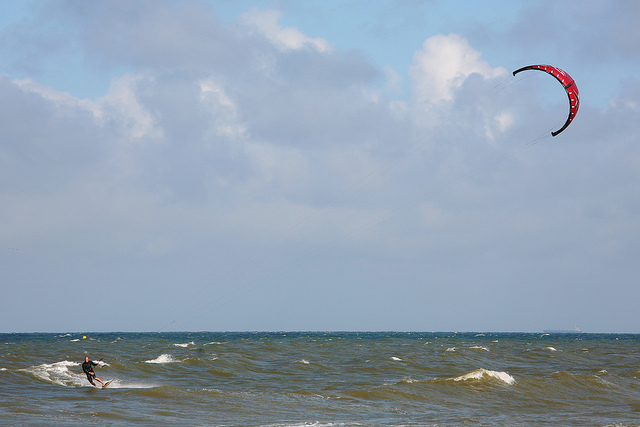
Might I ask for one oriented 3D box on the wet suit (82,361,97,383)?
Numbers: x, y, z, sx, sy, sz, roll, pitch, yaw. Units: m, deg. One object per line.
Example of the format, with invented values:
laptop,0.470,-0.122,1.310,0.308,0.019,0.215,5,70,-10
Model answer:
wet suit,-20.936,14.300,109.673,1.370,2.165,1.324,12,-24,-8
